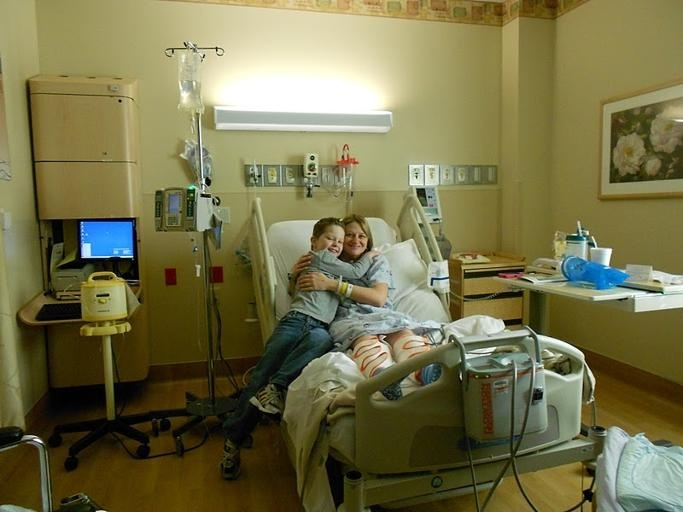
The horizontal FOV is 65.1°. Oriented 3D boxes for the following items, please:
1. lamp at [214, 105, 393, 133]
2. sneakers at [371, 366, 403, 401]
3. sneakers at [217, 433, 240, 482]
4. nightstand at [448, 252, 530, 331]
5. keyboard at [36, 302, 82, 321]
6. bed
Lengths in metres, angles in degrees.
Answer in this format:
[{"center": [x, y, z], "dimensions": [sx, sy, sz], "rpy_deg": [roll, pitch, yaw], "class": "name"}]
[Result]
[{"center": [-0.261, -1.010, 3.988], "dimensions": [1.339, 0.224, 0.233], "rpy_deg": [-6, 15, -18], "class": "lamp"}, {"center": [0.193, 0.548, 2.263], "dimensions": [0.141, 0.190, 0.091], "rpy_deg": [0, 2, -31], "class": "sneakers"}, {"center": [-0.590, 1.089, 2.859], "dimensions": [0.082, 0.181, 0.248], "rpy_deg": [2, 11, 2], "class": "sneakers"}, {"center": [1.054, 0.181, 4.217], "dimensions": [0.661, 0.866, 0.489], "rpy_deg": [-1, 4, -14], "class": "nightstand"}, {"center": [-1.685, 0.333, 3.261], "dimensions": [0.296, 0.062, 0.220], "rpy_deg": [-1, 15, 0], "class": "keyboard"}, {"center": [0.439, 0.684, 2.554], "dimensions": [1.353, 0.851, 0.869], "rpy_deg": [-6, 15, -19], "class": "bed"}]
